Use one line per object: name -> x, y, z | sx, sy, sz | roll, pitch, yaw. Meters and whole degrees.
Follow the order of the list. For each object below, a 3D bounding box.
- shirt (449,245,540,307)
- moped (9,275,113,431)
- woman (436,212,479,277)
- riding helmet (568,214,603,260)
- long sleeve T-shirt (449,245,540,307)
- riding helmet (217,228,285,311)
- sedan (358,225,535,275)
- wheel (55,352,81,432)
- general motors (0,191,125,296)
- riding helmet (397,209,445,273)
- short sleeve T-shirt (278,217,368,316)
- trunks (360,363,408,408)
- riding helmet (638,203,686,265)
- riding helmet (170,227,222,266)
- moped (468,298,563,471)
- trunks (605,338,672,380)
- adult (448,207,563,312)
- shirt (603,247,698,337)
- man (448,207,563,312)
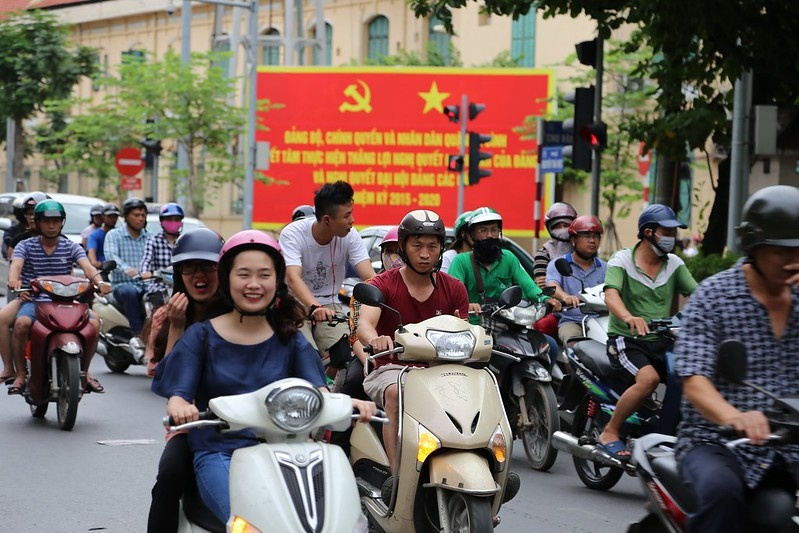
shirt -> 0.869, 0.178, 11.194 | 1.160, 0.681, 0.634 | -2, -4, 6
moped -> -3.787, 0.956, 11.975 | 0.786, 1.652, 0.687 | 0, 3, -6
woman -> 0.610, -0.199, 11.774 | 0.459, 0.639, 0.610 | 14, -15, -43
riding helmet -> 2.003, -0.316, 11.462 | 0.325, 0.447, 0.436 | 2, -8, -9
long sleeve T-shirt -> 0.880, 0.185, 11.194 | 1.168, 0.698, 0.657 | -3, -4, 5
riding helmet -> -0.960, 0.016, 7.239 | 0.388, 0.526, 0.531 | 4, 0, -9
sedan -> 0.343, -0.332, 17.380 | 1.876, 0.957, 1.174 | -2, 2, 4
wheel -> -3.627, 1.371, 11.906 | 0.237, 0.834, 0.509 | 0, 3, -18
general motors -> -7.267, -0.485, 21.686 | 2.452, 2.124, 4.172 | 0, -2, -34
riding helmet -> 0.233, -0.184, 8.682 | 0.348, 0.461, 0.416 | 6, -11, -20
short sleeve T-shirt -> -0.769, -0.032, 10.517 | 1.042, 1.132, 0.731 | 2, -6, -35
trunks -> -0.100, 0.891, 8.374 | 0.352, 0.226, 0.147 | 0, -27, 15
riding helmet -> 2.365, -0.319, 9.910 | 0.472, 0.526, 0.375 | -1, -3, 33
riding helmet -> -1.465, -0.135, 7.920 | 0.271, 0.187, 0.374 | 0, -7, -5
moped -> 1.243, 1.161, 11.744 | 0.847, 1.718, 2.682 | -2, -3, 1
trunks -> 2.098, 0.801, 9.544 | 0.291, 0.297, 0.439 | -4, 6, -41
adult -> 1.044, -0.087, 10.989 | 0.812, 0.797, 1.178 | -3, -4, -15
shirt -> 2.246, 0.210, 10.053 | 1.167, 0.962, 0.663 | 2, -2, -11
man -> 0.992, -0.079, 10.955 | 0.812, 0.797, 1.178 | -3, -4, -15
